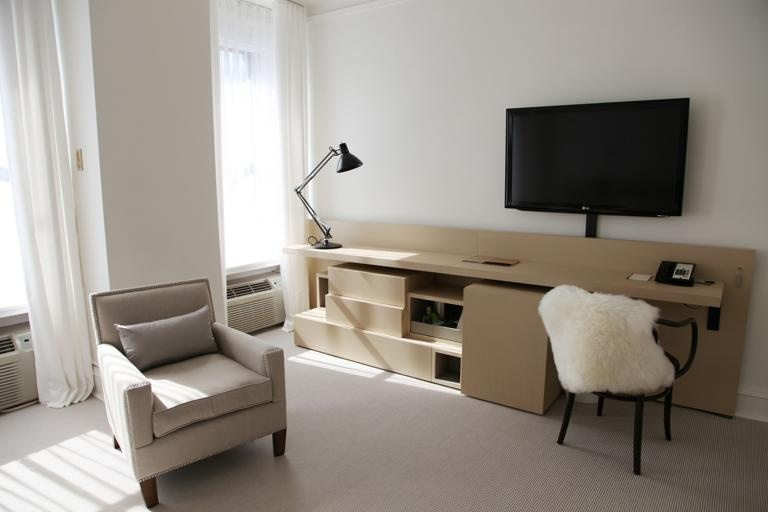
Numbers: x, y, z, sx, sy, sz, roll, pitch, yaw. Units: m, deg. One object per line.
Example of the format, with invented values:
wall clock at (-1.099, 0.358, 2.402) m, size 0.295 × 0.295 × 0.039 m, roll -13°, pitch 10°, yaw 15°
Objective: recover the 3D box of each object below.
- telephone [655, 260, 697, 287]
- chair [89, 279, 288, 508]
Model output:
telephone at (2.119, 0.124, 3.786) m, size 0.235 × 0.137 × 0.259 m, roll 5°, pitch 13°, yaw 28°
chair at (-1.315, 0.846, 3.533) m, size 1.021 × 1.201 × 0.892 m, roll -9°, pitch 14°, yaw -33°
